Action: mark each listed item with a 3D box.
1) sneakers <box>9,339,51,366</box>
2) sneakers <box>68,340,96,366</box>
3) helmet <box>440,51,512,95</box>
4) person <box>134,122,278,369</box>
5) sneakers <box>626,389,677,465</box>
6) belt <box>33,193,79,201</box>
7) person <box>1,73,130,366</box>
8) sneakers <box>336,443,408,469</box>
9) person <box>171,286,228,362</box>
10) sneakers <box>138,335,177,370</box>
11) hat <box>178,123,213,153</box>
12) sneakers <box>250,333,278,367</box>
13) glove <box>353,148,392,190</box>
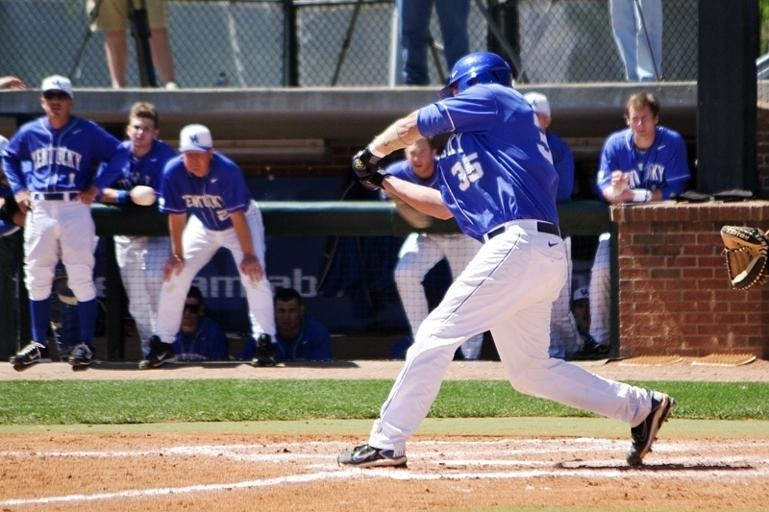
[{"bbox_3d":[-2.987,0.832,14.227,0.311,0.237,0.321,0,-2,-14],"label":"sneakers"},{"bbox_3d":[-2.531,0.817,14.150,0.206,0.239,0.553,0,-3,-2],"label":"sneakers"},{"bbox_3d":[0.672,-1.329,12.344,0.398,0.195,0.289,-1,3,12],"label":"helmet"},{"bbox_3d":[-1.474,-0.061,14.287,0.954,2.001,0.683,1,-2,-40],"label":"person"},{"bbox_3d":[1.858,1.224,12.221,0.279,0.622,0.217,22,4,-3],"label":"sneakers"},{"bbox_3d":[-2.731,-0.492,14.090,0.372,0.071,0.049,0,-2,-2],"label":"belt"},{"bbox_3d":[-2.703,-0.266,14.210,0.992,2.428,0.387,0,-2,-13],"label":"person"},{"bbox_3d":[-0.091,1.420,11.998,0.480,0.192,0.185,4,-7,4],"label":"sneakers"},{"bbox_3d":[-1.721,0.696,14.776,0.591,0.770,0.452,2,7,-3],"label":"person"},{"bbox_3d":[-1.930,0.810,14.298,0.262,0.286,0.296,0,-2,2],"label":"sneakers"},{"bbox_3d":[-1.564,-0.964,14.127,0.211,0.161,0.310,-1,3,3],"label":"hat"},{"bbox_3d":[-1.017,0.807,14.272,0.159,0.288,0.312,-3,-19,4],"label":"sneakers"},{"bbox_3d":[-0.134,-0.615,12.376,0.135,0.272,0.237,-39,-8,14],"label":"glove"}]
